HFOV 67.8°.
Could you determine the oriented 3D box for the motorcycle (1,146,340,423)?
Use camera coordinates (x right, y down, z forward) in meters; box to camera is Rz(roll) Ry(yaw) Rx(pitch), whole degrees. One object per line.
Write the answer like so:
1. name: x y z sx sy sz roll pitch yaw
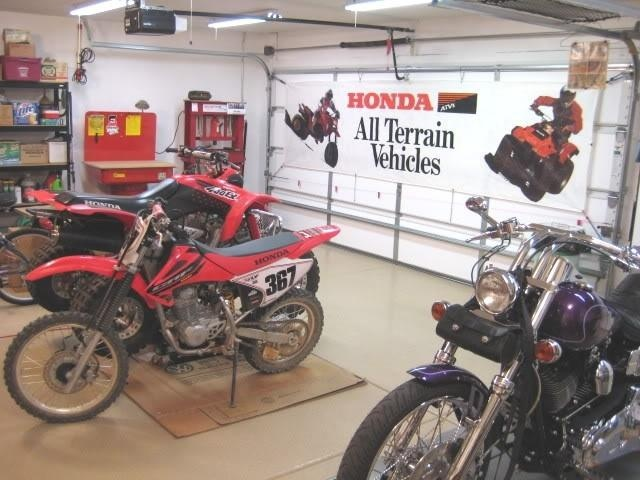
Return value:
1. motorcycle: -0.937 0.290 4.274 3.073 1.952 1.198 1 18 -30
